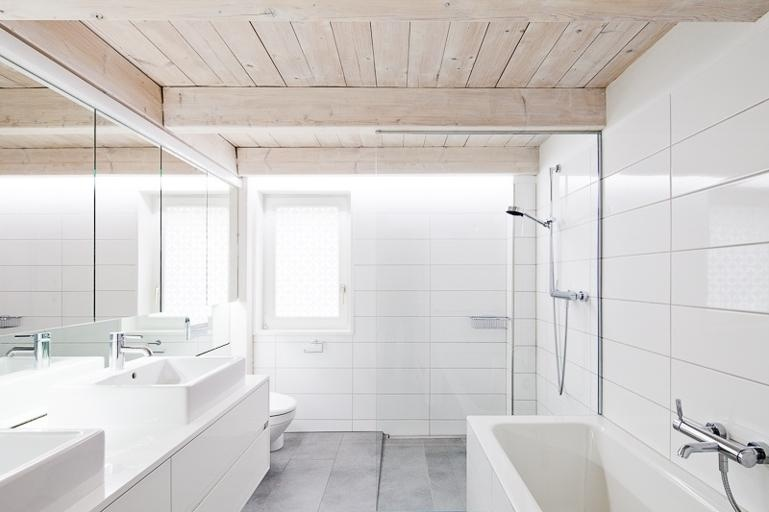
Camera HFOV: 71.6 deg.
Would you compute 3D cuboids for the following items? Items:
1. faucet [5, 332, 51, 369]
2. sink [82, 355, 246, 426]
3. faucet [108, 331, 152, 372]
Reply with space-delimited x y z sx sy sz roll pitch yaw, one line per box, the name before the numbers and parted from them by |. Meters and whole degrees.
faucet | -1.838 0.488 2.795 0.220 0.191 0.148 1 -5 -11
sink | -1.298 0.780 3.202 0.561 0.265 0.806 0 -2 7
faucet | -1.596 0.562 3.310 0.371 0.227 0.123 0 -2 -7
